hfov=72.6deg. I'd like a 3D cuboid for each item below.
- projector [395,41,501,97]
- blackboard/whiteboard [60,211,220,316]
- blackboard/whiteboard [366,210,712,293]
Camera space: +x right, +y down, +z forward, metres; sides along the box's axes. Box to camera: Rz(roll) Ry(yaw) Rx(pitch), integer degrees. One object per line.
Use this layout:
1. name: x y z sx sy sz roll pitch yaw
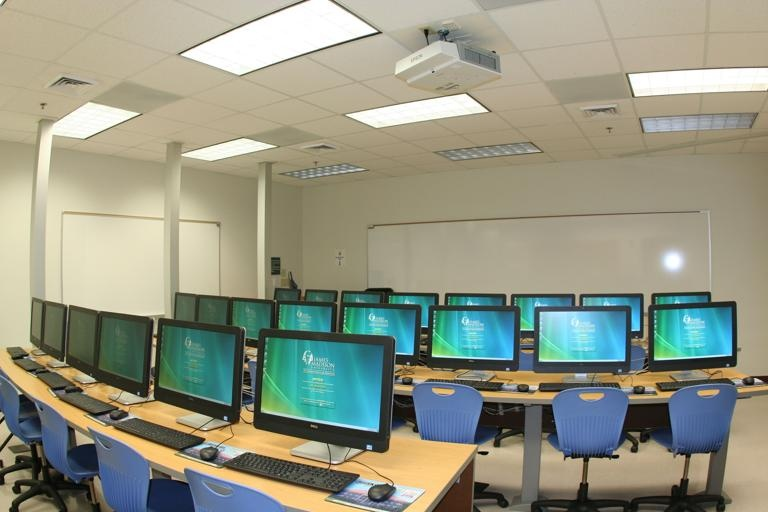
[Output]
1. projector: 0.559 -1.630 4.568 0.737 0.319 0.510 -3 7 -33
2. blackboard/whiteboard: -3.752 0.110 7.851 0.077 1.087 1.939 0 -1 44
3. blackboard/whiteboard: 3.076 0.055 8.892 6.939 2.037 0.204 -3 0 -18
